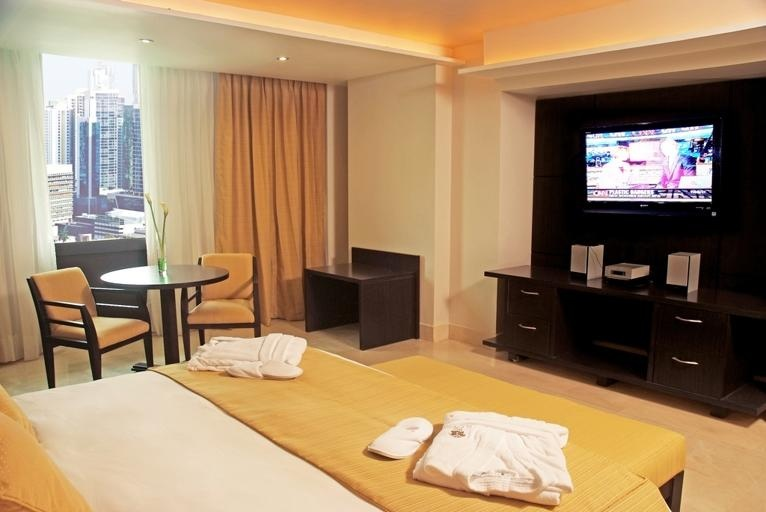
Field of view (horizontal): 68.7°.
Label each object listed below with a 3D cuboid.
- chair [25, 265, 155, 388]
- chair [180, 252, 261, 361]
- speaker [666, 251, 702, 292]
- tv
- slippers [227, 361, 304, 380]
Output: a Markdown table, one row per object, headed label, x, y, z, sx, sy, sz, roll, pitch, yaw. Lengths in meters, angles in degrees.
| label | x | y | z | sx | sy | sz | roll | pitch | yaw |
| --- | --- | --- | --- | --- | --- | --- | --- | --- | --- |
| chair | -2.469 | 0.642 | 4.760 | 0.715 | 0.976 | 0.611 | 7 | 13 | 19 |
| chair | -1.501 | 0.467 | 5.378 | 0.893 | 0.902 | 0.901 | 4 | 9 | 22 |
| speaker | 2.529 | 0.118 | 4.721 | 0.228 | 0.305 | 0.348 | 7 | 13 | 34 |
| tv | 2.385 | -0.783 | 4.911 | 1.049 | 0.730 | 0.109 | 7 | 16 | 38 |
| slippers | -0.725 | 0.698 | 3.450 | 0.287 | 0.054 | 0.174 | 2 | -1 | -4 |
